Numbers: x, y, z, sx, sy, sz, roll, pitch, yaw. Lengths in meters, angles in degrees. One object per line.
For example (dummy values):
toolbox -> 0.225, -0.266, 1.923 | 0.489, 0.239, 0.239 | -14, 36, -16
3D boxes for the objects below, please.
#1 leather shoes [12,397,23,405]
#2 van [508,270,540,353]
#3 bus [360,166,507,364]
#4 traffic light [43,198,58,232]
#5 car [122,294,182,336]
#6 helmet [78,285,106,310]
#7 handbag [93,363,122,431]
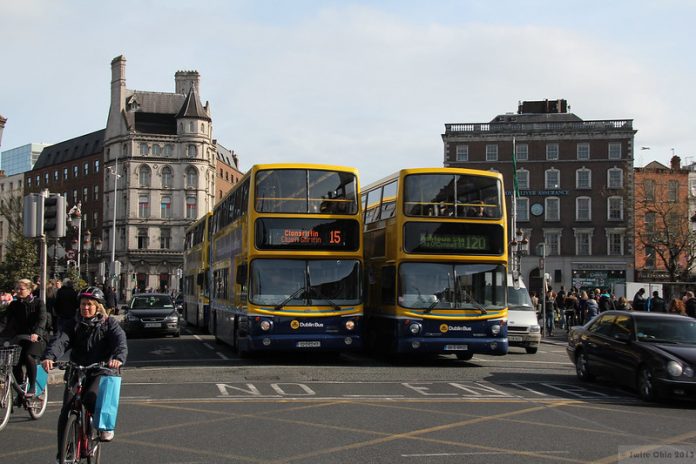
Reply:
leather shoes -> -6.538, 3.387, 17.334 | 0.272, 0.093, 0.187 | 10, 8, -9
van -> 5.939, 2.928, 29.611 | 0.999, 1.948, 1.536 | -1, -7, 11
bus -> 2.437, 0.822, 24.888 | 4.068, 5.264, 2.307 | -2, -7, 17
traffic light -> -7.887, -0.458, 23.172 | 0.381, 0.945, 0.257 | 7, -9, -42
car -> -7.874, 3.314, 35.061 | 1.998, 1.745, 2.338 | 3, -7, -19
helmet -> -4.357, 1.105, 14.892 | 0.405, 0.346, 0.430 | 2, -7, -16
handbag -> -3.962, 2.827, 14.352 | 0.392, 0.908, 0.164 | 1, -7, -10
